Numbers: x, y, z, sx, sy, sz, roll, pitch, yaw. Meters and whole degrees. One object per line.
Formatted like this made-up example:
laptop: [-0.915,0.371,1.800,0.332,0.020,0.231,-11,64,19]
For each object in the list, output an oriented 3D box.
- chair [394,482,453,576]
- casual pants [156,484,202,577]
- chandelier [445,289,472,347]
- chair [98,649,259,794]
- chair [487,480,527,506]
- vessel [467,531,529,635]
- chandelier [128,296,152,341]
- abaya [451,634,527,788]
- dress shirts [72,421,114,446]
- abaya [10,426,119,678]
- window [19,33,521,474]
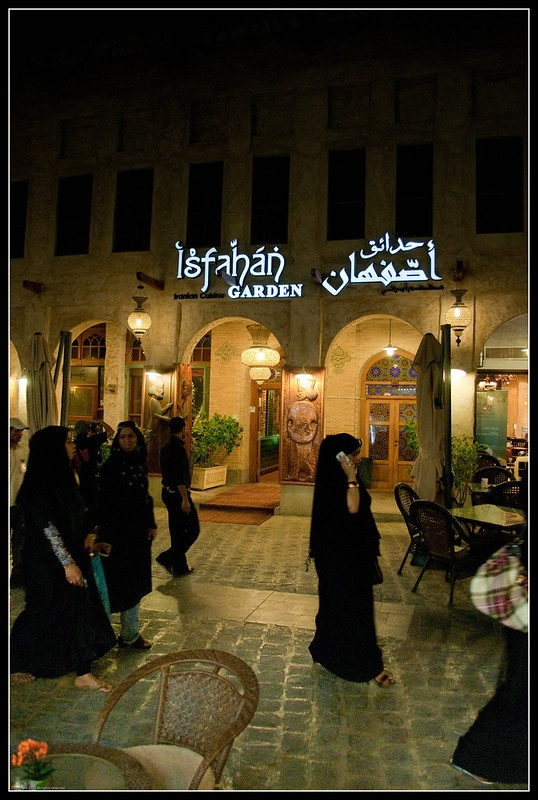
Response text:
chair: [1.766,1.535,7.280,0.827,1.231,0.869,-1,-1,9]
casual pants: [-1.100,1.598,7.067,0.531,1.598,0.521,-6,22,-15]
chandelier: [2.973,-1.313,9.212,0.381,0.706,0.732,-1,-1,19]
chair: [-0.336,1.184,2.217,0.628,0.394,0.413,-1,-1,29]
chair: [3.134,1.229,7.783,0.451,0.322,0.684,-1,-1,17]
vessel: [1.169,0.877,2.885,0.165,0.406,0.567,-1,-1,-8]
chandelier: [-2.338,-1.465,10.546,0.356,0.735,0.950,-1,-1,-13]
abaya: [1.123,1.538,2.948,0.166,0.641,0.423,-1,-1,-26]
dress shirts: [-1.967,0.368,6.537,0.510,0.221,0.540,2,-9,-17]
abaya: [-1.371,1.057,3.878,0.644,1.761,0.403,-1,-1,-26]
window: [-0.237,-3.046,10.717,9.021,7.275,1.515,-1,-1,24]
